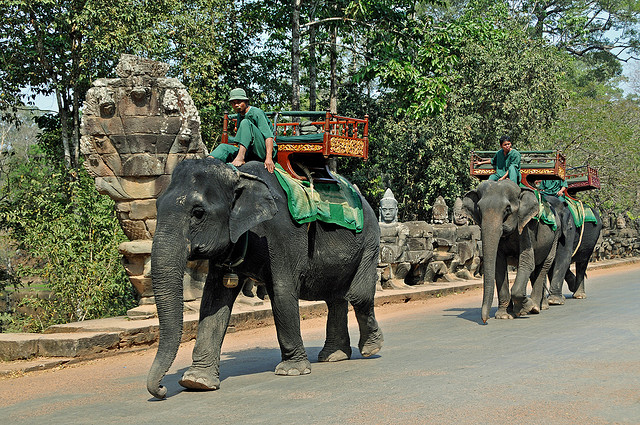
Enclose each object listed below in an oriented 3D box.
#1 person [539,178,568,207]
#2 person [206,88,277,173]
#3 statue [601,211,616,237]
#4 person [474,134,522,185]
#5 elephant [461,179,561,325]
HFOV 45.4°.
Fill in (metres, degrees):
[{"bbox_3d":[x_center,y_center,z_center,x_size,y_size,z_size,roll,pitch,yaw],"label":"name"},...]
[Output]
[{"bbox_3d":[6.022,-0.618,19.586,0.611,0.381,1.145,19,26,-4],"label":"person"},{"bbox_3d":[-1.401,-1.371,12.551,1.523,1.236,0.984,-6,5,-26],"label":"person"},{"bbox_3d":[13.021,0.612,34.544,0.577,0.979,1.660,2,7,21],"label":"statue"},{"bbox_3d":[4.051,-1.177,17.004,0.792,1.020,0.967,0,7,12],"label":"person"},{"bbox_3d":[4.417,0.941,17.380,1.754,3.098,4.123,-1,-3,32],"label":"elephant"}]
